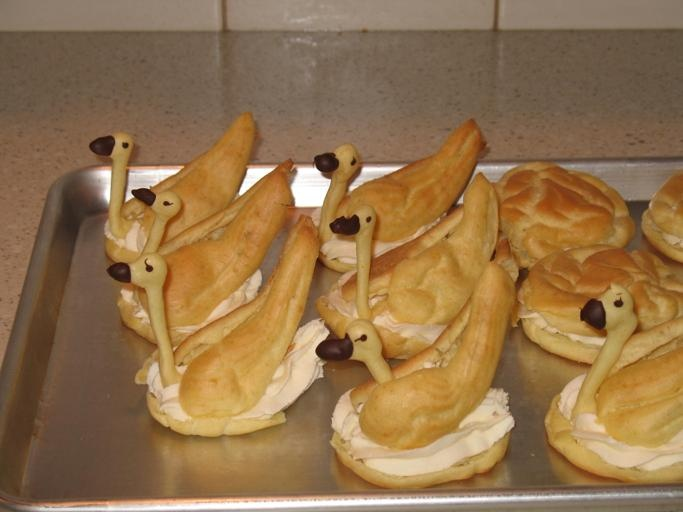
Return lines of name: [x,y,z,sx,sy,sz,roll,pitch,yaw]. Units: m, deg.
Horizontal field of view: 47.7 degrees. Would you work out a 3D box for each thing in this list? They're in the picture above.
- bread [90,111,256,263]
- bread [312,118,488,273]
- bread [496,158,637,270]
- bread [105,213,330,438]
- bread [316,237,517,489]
bread: [-0.339,-0.132,1.538,0.143,0.252,0.325,37,86,27]
bread: [0.112,-0.114,1.505,0.359,0.222,0.154,-36,50,-2]
bread: [0.430,-0.083,1.520,0.226,0.075,0.226,4,50,7]
bread: [-0.176,0.092,1.247,0.357,0.303,0.275,-21,38,-32]
bread: [0.163,0.160,1.263,0.269,0.162,0.427,10,46,22]
